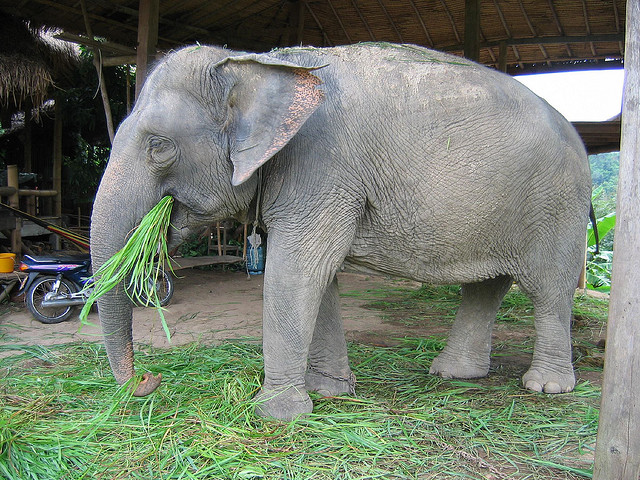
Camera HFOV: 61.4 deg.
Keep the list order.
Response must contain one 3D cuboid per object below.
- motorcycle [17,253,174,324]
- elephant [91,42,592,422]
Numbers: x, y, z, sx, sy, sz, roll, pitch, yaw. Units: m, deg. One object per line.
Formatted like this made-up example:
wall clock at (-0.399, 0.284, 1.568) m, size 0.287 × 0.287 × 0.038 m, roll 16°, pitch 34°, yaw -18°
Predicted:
motorcycle at (-2.232, 0.324, 5.365) m, size 0.774 × 0.793 × 1.459 m, roll -9°, pitch -2°, yaw 43°
elephant at (0.173, -0.068, 3.170) m, size 2.986 × 1.698 × 1.203 m, roll 1°, pitch 1°, yaw -6°
